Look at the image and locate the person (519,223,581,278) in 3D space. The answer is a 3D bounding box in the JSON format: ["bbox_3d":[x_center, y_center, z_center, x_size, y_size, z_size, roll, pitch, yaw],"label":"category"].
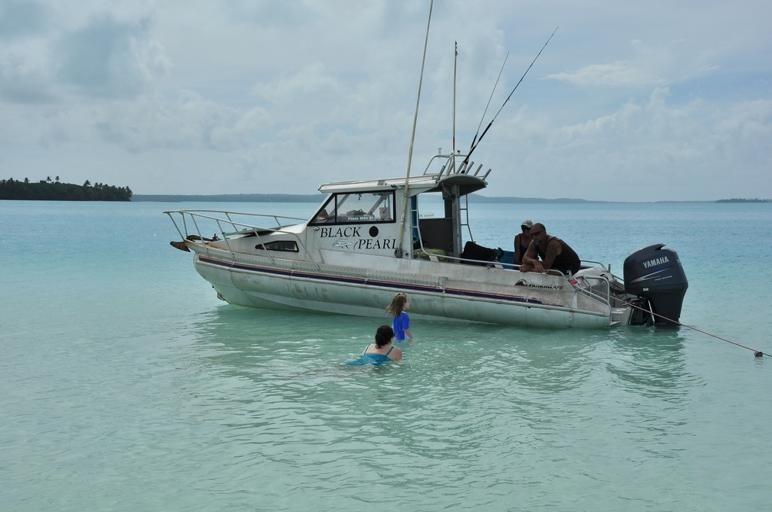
[{"bbox_3d":[4.226,-0.154,17.414,1.566,1.365,0.952,-7,12,-37],"label":"person"}]
